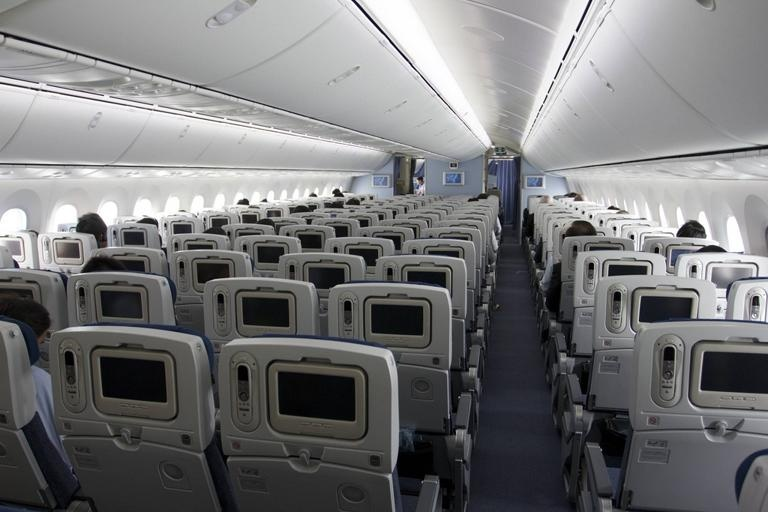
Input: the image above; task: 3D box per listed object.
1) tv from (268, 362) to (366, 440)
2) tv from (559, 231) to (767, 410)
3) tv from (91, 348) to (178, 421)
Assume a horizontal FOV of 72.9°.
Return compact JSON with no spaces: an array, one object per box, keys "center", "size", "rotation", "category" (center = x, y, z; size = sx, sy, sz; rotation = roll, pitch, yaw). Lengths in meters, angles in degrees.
[{"center":[-0.331,0.750,2.727],"size":[0.425,0.312,0.059],"rotation":[3,9,17],"category":"tv"},{"center":[2.330,0.677,4.857],"size":[1.103,1.537,1.314],"rotation":[1,9,8],"category":"tv"},{"center":[-1.392,0.708,2.919],"size":[0.421,0.339,0.059],"rotation":[3,11,16],"category":"tv"}]
